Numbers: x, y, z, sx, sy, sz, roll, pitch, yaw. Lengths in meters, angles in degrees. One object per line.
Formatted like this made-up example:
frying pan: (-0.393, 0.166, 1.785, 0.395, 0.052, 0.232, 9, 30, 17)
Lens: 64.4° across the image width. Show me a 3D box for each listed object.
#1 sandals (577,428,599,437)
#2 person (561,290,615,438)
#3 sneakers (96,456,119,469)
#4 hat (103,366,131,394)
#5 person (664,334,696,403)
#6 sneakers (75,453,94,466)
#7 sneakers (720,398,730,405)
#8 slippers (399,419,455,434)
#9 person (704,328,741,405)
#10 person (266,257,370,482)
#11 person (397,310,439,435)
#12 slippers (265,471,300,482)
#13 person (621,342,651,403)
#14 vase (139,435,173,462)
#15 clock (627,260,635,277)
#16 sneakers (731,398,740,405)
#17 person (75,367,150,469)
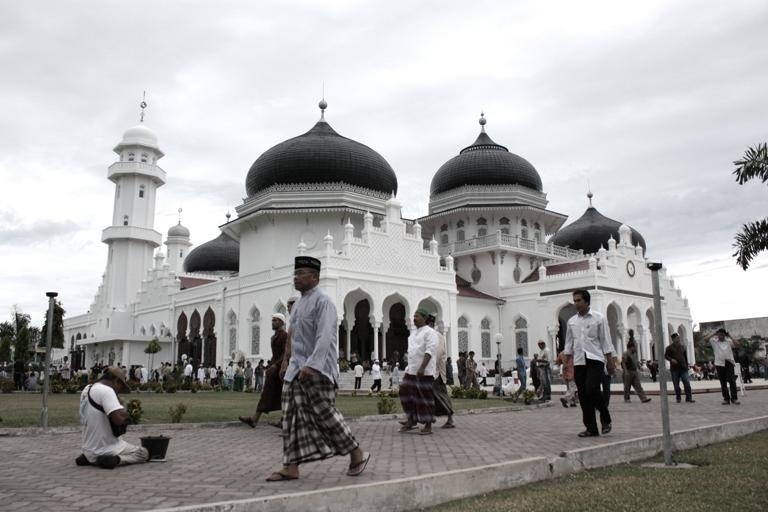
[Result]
sandals: (3.132, 2.717, 9.390, 0.322, 0.136, 0.130, 1, -7, 13)
person: (3.177, 1.647, 9.544, 0.752, 2.211, 0.696, -9, -13, 43)
sneakers: (-3.408, 2.530, 7.548, 0.177, 0.064, 0.172, 6, -10, -32)
hat: (-3.473, 1.587, 8.009, 0.374, 0.181, 0.377, 21, -11, 27)
person: (7.370, 2.764, 15.243, 0.625, 1.679, 0.612, -4, -13, 15)
sneakers: (-3.753, 2.540, 7.693, 0.255, 0.170, 0.133, -2, -8, -1)
sneakers: (7.979, 3.402, 14.242, 0.260, 0.171, 0.087, 13, -22, -21)
slippers: (0.724, 2.909, 10.427, 0.655, 0.255, 0.198, 19, -28, -29)
person: (7.939, 2.535, 14.177, 0.530, 1.711, 0.580, 17, -24, -32)
person: (-0.758, 1.320, 7.155, 1.013, 2.467, 1.025, -5, -12, 30)
person: (0.578, 1.925, 10.304, 0.576, 2.035, 0.795, 4, -14, -24)
slippers: (-1.136, 2.450, 6.776, 0.332, 0.088, 0.128, 3, -13, -7)
person: (6.658, 3.049, 16.048, 0.779, 1.561, 0.648, -9, -13, 43)
vase: (-2.965, 2.494, 7.988, 0.330, 0.240, 0.328, 2, -12, 2)
clock: (13.810, 0.694, 34.189, 0.096, 0.773, 0.786, -20, -24, 38)
sneakers: (8.172, 3.357, 14.180, 0.128, 0.147, 0.350, -1, -7, 23)
person: (-3.498, 2.033, 7.759, 0.794, 1.219, 0.394, -3, -13, 6)
